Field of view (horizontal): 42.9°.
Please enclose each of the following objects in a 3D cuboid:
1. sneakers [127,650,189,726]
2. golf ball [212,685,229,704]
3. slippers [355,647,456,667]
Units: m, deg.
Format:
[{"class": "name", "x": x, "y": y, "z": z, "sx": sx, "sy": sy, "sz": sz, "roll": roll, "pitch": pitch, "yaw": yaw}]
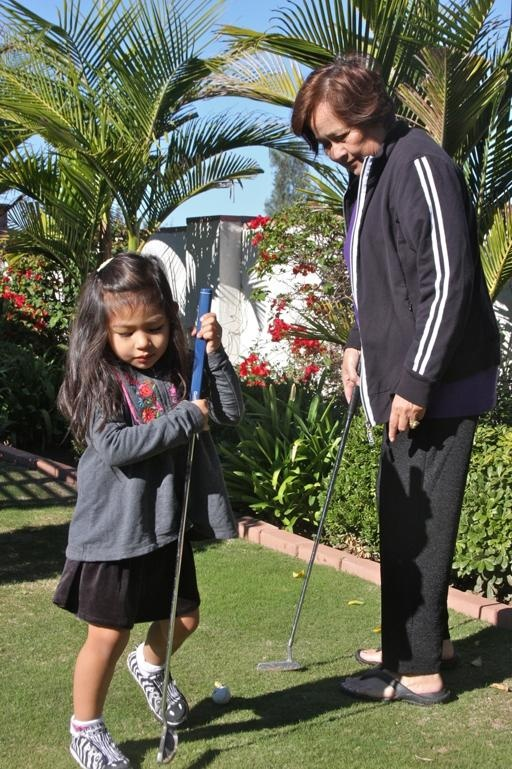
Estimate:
[{"class": "sneakers", "x": -0.287, "y": 0.832, "z": 1.916, "sx": 0.098, "sy": 0.277, "sz": 0.109, "roll": -21, "pitch": -30, "yaw": -36}, {"class": "golf ball", "x": -0.109, "y": 0.953, "z": 2.013, "sx": 0.039, "sy": 0.049, "sz": 0.049, "roll": 11, "pitch": -36, "yaw": -17}, {"class": "slippers", "x": 0.535, "y": 0.974, "z": 2.322, "sx": 0.322, "sy": 0.086, "sz": 0.126, "roll": 2, "pitch": 5, "yaw": 5}]
